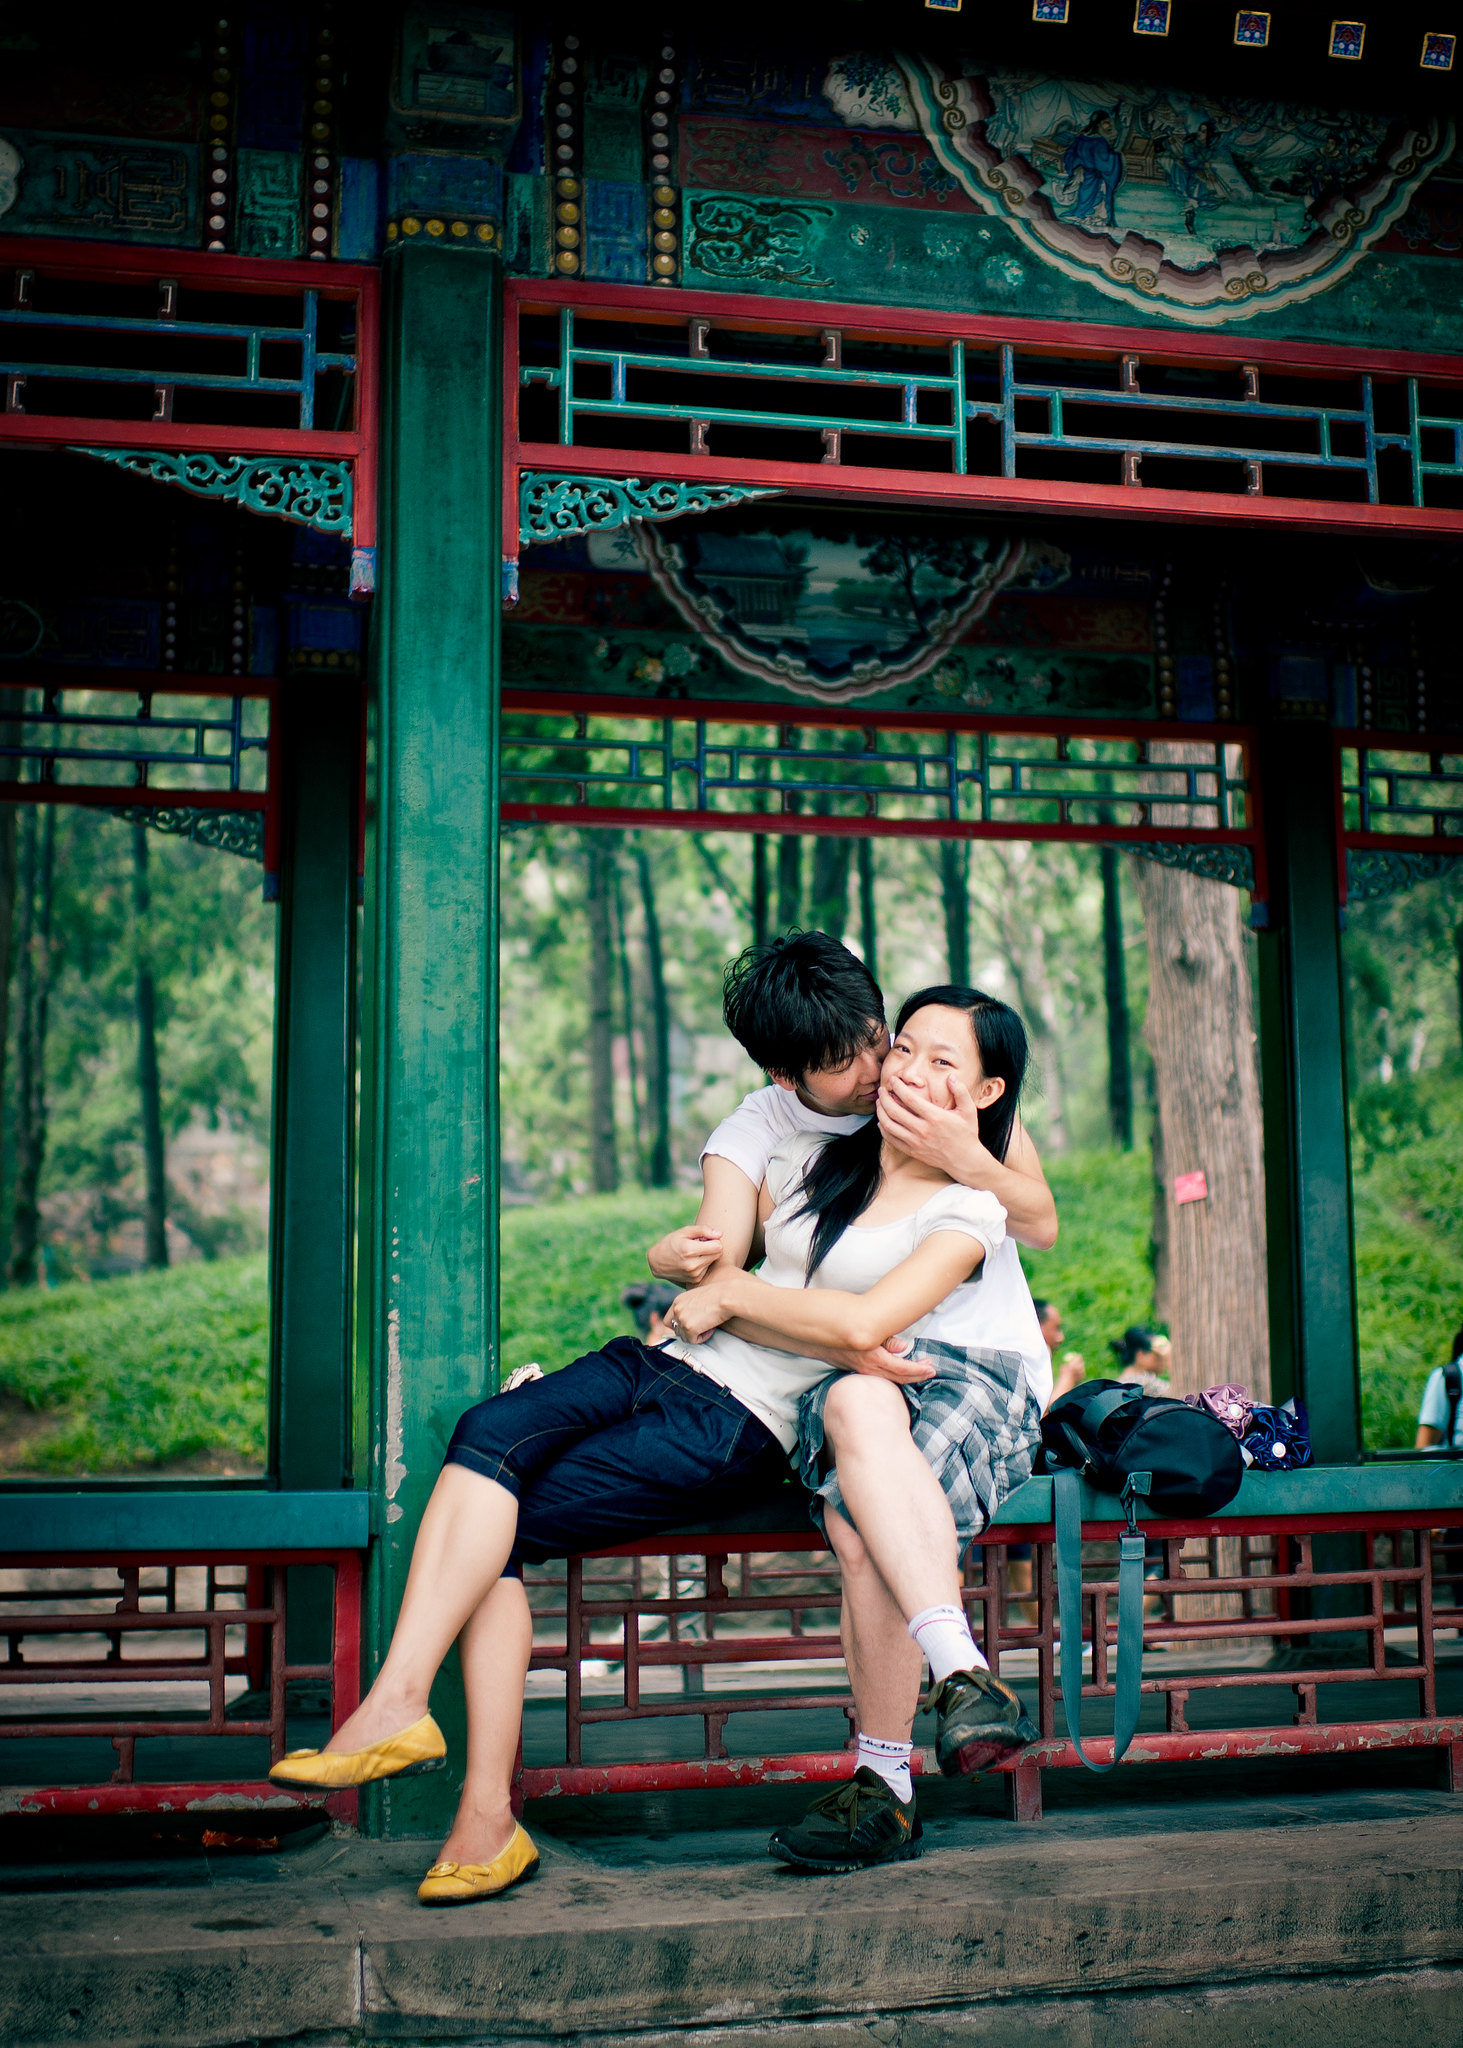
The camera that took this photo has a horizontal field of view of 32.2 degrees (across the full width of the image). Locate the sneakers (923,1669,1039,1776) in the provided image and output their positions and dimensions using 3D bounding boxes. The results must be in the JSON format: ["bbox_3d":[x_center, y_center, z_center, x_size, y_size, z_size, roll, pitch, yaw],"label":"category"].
[{"bbox_3d":[0.454,1.267,4.582,0.208,0.197,0.171,0,-4,-22],"label":"sneakers"}]

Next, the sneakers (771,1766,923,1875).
[{"bbox_3d":[0.204,1.548,4.887,0.352,0.146,0.144,2,-10,-24],"label":"sneakers"}]

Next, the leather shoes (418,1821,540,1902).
[{"bbox_3d":[-0.473,1.602,4.757,0.087,0.081,0.224,-15,-19,25],"label":"leather shoes"}]

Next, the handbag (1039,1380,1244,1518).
[{"bbox_3d":[0.879,0.914,5.486,0.289,0.154,0.384,23,-13,-20],"label":"handbag"}]

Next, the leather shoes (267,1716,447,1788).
[{"bbox_3d":[-0.681,1.358,4.703,0.345,0.118,0.116,2,-5,-20],"label":"leather shoes"}]

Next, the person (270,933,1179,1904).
[{"bbox_3d":[-0.014,0.792,5.054,1.280,1.721,0.927,-2,-3,5],"label":"person"}]
